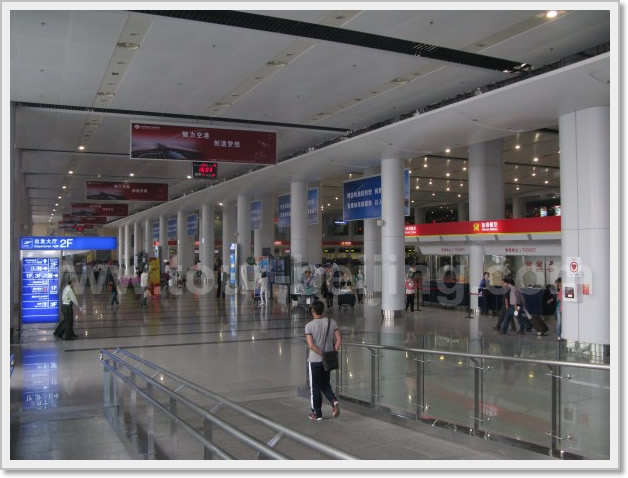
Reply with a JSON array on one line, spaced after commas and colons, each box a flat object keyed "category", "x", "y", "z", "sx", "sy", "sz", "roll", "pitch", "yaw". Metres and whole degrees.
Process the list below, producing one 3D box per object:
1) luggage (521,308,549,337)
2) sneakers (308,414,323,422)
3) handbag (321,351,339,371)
[{"category": "luggage", "x": 6.836, "y": 2.486, "z": 14.147, "sx": 0.683, "sy": 0.867, "sz": 2.385, "roll": -1, "pitch": -2, "yaw": 27}, {"category": "sneakers", "x": 0.010, "y": 2.532, "z": 6.470, "sx": 0.081, "sy": 0.080, "sz": 0.199, "roll": 3, "pitch": -1, "yaw": -38}, {"category": "handbag", "x": 0.249, "y": 1.766, "z": 6.585, "sx": 0.262, "sy": 0.279, "sz": 0.088, "roll": 1, "pitch": -2, "yaw": -35}]
